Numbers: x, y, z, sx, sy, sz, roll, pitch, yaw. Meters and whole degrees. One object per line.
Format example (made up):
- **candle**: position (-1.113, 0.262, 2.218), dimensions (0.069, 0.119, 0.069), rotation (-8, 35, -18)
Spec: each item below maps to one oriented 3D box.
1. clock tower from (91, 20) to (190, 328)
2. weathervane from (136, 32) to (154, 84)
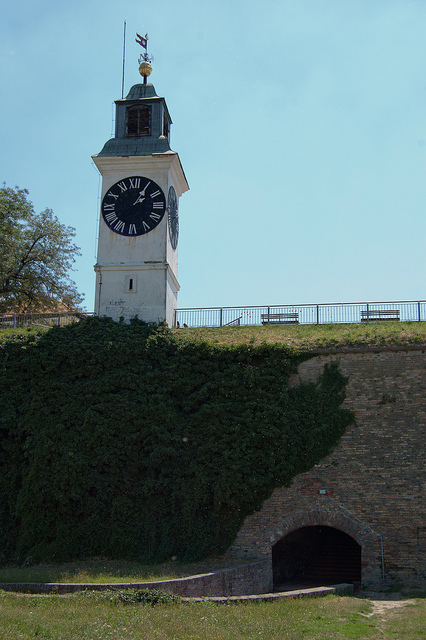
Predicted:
- **clock tower**: position (-2.907, -5.055, 38.984), dimensions (3.251, 11.804, 3.199), rotation (-1, -13, 7)
- **weathervane**: position (-2.779, -10.509, 40.741), dimensions (0.779, 2.742, 0.588), rotation (1, -4, -18)
